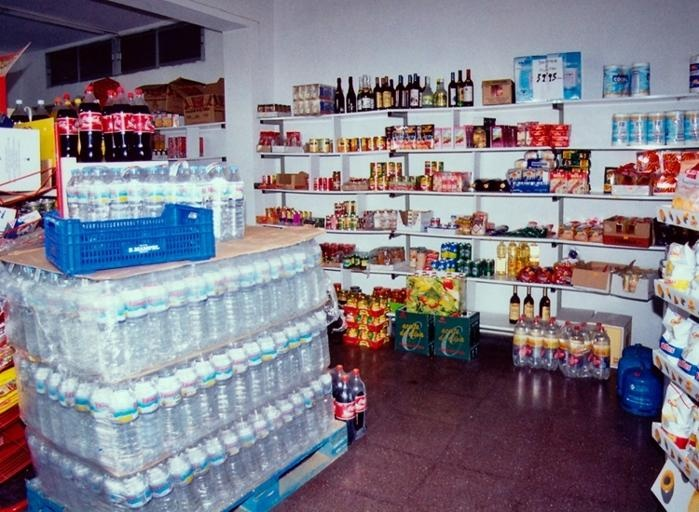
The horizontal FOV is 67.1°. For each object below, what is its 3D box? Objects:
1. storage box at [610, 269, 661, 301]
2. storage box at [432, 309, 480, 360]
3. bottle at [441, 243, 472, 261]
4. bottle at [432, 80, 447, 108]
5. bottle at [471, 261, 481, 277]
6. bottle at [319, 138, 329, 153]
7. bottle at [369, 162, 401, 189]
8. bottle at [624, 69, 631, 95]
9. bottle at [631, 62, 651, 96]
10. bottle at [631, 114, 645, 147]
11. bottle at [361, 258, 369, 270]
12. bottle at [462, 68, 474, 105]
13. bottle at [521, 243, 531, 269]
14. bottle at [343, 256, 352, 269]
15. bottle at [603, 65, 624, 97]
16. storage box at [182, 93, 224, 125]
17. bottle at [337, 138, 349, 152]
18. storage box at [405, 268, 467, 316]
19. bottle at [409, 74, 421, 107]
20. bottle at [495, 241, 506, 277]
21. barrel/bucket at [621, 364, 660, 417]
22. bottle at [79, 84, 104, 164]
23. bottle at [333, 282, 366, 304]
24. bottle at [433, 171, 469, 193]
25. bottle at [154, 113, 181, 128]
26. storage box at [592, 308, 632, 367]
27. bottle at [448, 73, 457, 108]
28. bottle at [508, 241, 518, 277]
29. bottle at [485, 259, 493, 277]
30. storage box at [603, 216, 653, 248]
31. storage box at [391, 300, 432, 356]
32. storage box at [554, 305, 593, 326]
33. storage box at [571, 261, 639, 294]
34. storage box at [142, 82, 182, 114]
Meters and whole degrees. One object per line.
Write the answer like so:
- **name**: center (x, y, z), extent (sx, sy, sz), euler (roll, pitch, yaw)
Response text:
- **storage box**: center (2.864, 0.195, 5.265), extent (0.393, 0.256, 0.406), euler (5, 12, 40)
- **storage box**: center (1.161, 0.873, 5.706), extent (0.441, 0.442, 0.360), euler (0, -6, 31)
- **bottle**: center (1.236, -0.052, 6.115), extent (0.286, 0.319, 0.187), euler (5, 8, 30)
- **bottle**: center (1.058, -1.910, 6.171), extent (0.173, 0.336, 0.301), euler (-2, 14, -3)
- **bottle**: center (1.437, 0.148, 5.991), extent (0.101, 0.163, 0.059), euler (1, 14, 10)
- **bottle**: center (-0.336, -1.417, 6.740), extent (0.160, 0.190, 0.158), euler (-9, 17, -36)
- **bottle**: center (0.415, -0.970, 6.490), extent (0.344, 0.364, 0.358), euler (-1, 6, -19)
- **bottle**: center (2.757, -1.726, 5.197), extent (0.048, 0.256, 0.104), euler (10, 18, 40)
- **bottle**: center (2.847, -1.727, 5.155), extent (0.162, 0.325, 0.146), euler (4, 14, 19)
- **bottle**: center (2.831, -1.237, 5.144), extent (0.137, 0.299, 0.053), euler (2, 14, 12)
- **bottle**: center (0.179, 0.101, 6.435), extent (0.111, 0.134, 0.114), euler (3, 6, 29)
- **bottle**: center (1.355, -1.932, 6.043), extent (0.134, 0.408, 0.415), euler (2, 14, 12)
- **bottle**: center (1.998, -0.015, 5.979), extent (0.087, 0.255, 0.226), euler (2, 14, 13)
- **bottle**: center (-0.031, 0.077, 6.585), extent (0.129, 0.152, 0.133), euler (3, 4, 9)
- **bottle**: center (2.600, -1.721, 5.181), extent (0.193, 0.306, 0.110), euler (6, 15, 26)
- **storage box**: center (-2.090, -2.039, 7.505), extent (0.476, 0.314, 0.493), euler (9, 13, 38)
- **bottle**: center (-0.096, -1.397, 6.609), extent (0.158, 0.184, 0.156), euler (-10, 15, -38)
- **storage box**: center (0.878, 0.445, 5.794), extent (0.587, 0.420, 0.308), euler (5, -14, -6)
- **bottle**: center (0.767, -1.952, 6.222), extent (0.130, 0.392, 0.289), euler (0, 14, 6)
- **bottle**: center (1.765, 0.013, 6.114), extent (0.138, 0.380, 0.316), euler (3, 14, 15)
- **barrel/bucket**: center (2.525, 1.119, 4.483), extent (0.376, 0.404, 0.297), euler (5, 15, 35)
- **bottle**: center (-1.776, -0.901, 3.564), extent (0.176, 0.507, 0.403), euler (-8, 15, -26)
- **bottle**: center (-0.057, 0.469, 6.589), extent (0.315, 0.112, 0.332), euler (1, 5, 0)
- **bottle**: center (1.193, -0.861, 6.127), extent (0.286, 0.192, 0.290), euler (0, 9, 0)
- **bottle**: center (-2.746, -2.026, 7.851), extent (0.338, 0.123, 0.280), euler (11, 18, 32)
- **storage box**: center (2.714, 0.916, 5.408), extent (0.341, 0.590, 0.349), euler (-5, 18, 10)
- **bottle**: center (1.180, -1.911, 6.039), extent (0.098, 0.382, 0.268), euler (1, 14, 8)
- **bottle**: center (1.872, 0.031, 6.061), extent (0.100, 0.351, 0.231), euler (3, 14, 16)
- **bottle**: center (1.595, 0.137, 6.020), extent (0.075, 0.171, 0.130), euler (7, 16, 30)
- **storage box**: center (2.823, -0.197, 5.431), extent (0.426, 0.272, 0.443), euler (5, -7, 19)
- **storage box**: center (0.686, 0.800, 5.818), extent (0.436, 0.449, 0.454), euler (4, 5, 44)
- **storage box**: center (2.422, 0.639, 5.656), extent (0.229, 0.059, 0.218), euler (8, 16, 38)
- **storage box**: center (2.514, 0.206, 5.374), extent (0.441, 0.151, 0.418), euler (-8, 12, -43)
- **storage box**: center (-2.864, -2.392, 8.004), extent (0.598, 0.347, 0.453), euler (9, 14, 31)
